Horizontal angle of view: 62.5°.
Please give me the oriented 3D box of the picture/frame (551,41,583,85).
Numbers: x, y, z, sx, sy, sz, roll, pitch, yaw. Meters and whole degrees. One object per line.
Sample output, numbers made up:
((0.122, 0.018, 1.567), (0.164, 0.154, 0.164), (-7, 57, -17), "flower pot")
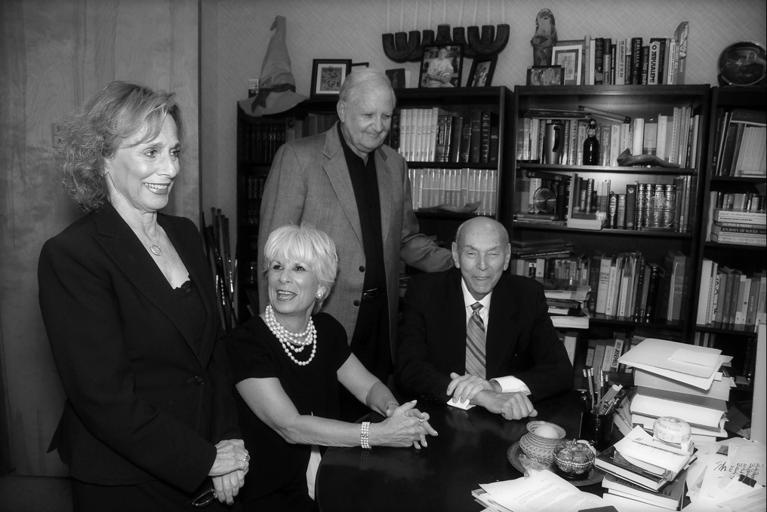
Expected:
((1.313, -1.396, 4.520), (0.225, 0.303, 0.081), (3, 9, 17), "picture/frame")

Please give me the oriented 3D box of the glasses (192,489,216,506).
((-0.679, 0.920, 2.407), (0.087, 0.048, 0.020), (-25, 1, -35), "glasses")

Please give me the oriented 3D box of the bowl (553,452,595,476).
((0.687, 0.743, 2.290), (0.112, 0.073, 0.098), (-5, -2, 27), "bowl")

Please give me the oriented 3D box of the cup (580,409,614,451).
((0.837, 0.677, 2.516), (0.142, 0.146, 0.134), (0, 6, 0), "cup")

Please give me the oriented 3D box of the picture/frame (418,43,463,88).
((0.441, -1.444, 4.762), (0.401, 0.438, 0.060), (4, -12, 11), "picture/frame")

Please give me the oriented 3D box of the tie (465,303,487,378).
((0.458, 0.404, 3.100), (0.106, 0.344, 0.144), (2, 8, 8), "tie")

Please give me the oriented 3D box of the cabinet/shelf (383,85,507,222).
((0.455, -0.724, 4.492), (1.182, 1.067, 0.385), (0, 0, 7), "cabinet/shelf")
